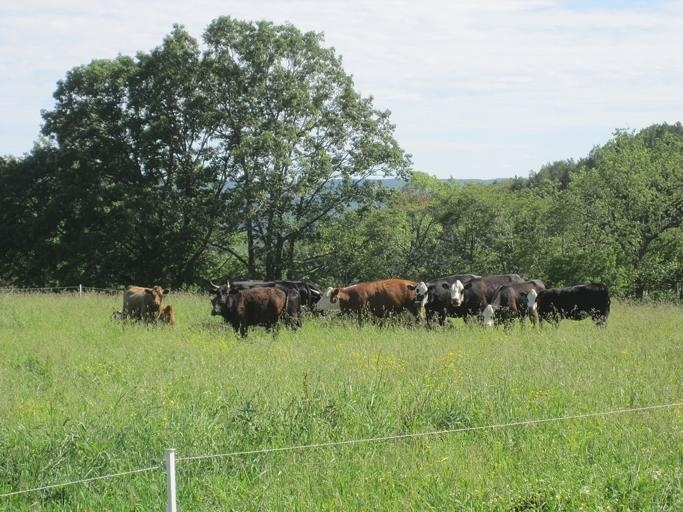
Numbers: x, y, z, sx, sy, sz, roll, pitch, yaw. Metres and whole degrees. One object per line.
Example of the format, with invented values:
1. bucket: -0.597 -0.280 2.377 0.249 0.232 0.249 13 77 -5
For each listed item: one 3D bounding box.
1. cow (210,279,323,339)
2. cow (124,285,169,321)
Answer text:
1. cow: -2.624 1.712 30.397 2.390 1.681 3.535 2 5 17
2. cow: -6.981 1.590 31.815 1.240 1.210 2.822 -2 5 -25
